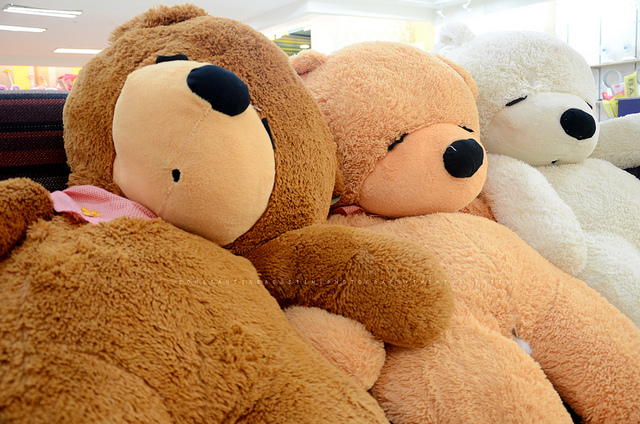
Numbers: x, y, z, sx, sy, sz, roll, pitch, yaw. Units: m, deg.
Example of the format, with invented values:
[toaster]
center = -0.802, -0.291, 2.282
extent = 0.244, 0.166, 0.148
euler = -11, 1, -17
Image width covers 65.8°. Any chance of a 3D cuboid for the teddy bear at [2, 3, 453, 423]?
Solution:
[teddy bear]
center = -0.106, -0.053, 1.206
extent = 0.996, 0.668, 0.998
euler = 10, 66, -27
